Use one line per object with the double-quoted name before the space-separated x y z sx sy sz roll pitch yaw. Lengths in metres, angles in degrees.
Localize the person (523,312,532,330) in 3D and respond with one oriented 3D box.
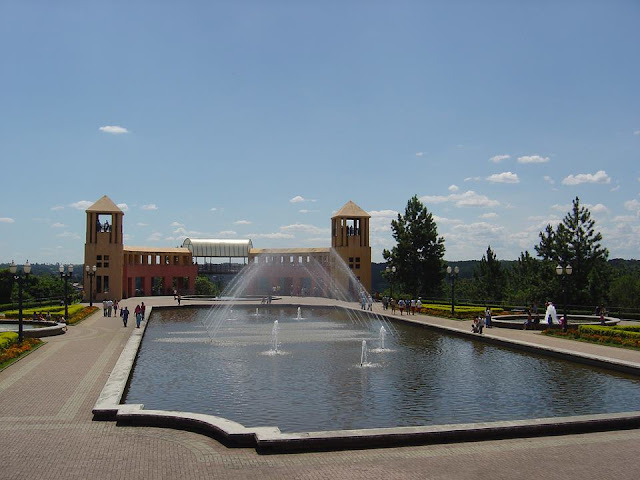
"person" 12.974 5.070 33.204 0.459 0.945 0.981 -2 -6 21
